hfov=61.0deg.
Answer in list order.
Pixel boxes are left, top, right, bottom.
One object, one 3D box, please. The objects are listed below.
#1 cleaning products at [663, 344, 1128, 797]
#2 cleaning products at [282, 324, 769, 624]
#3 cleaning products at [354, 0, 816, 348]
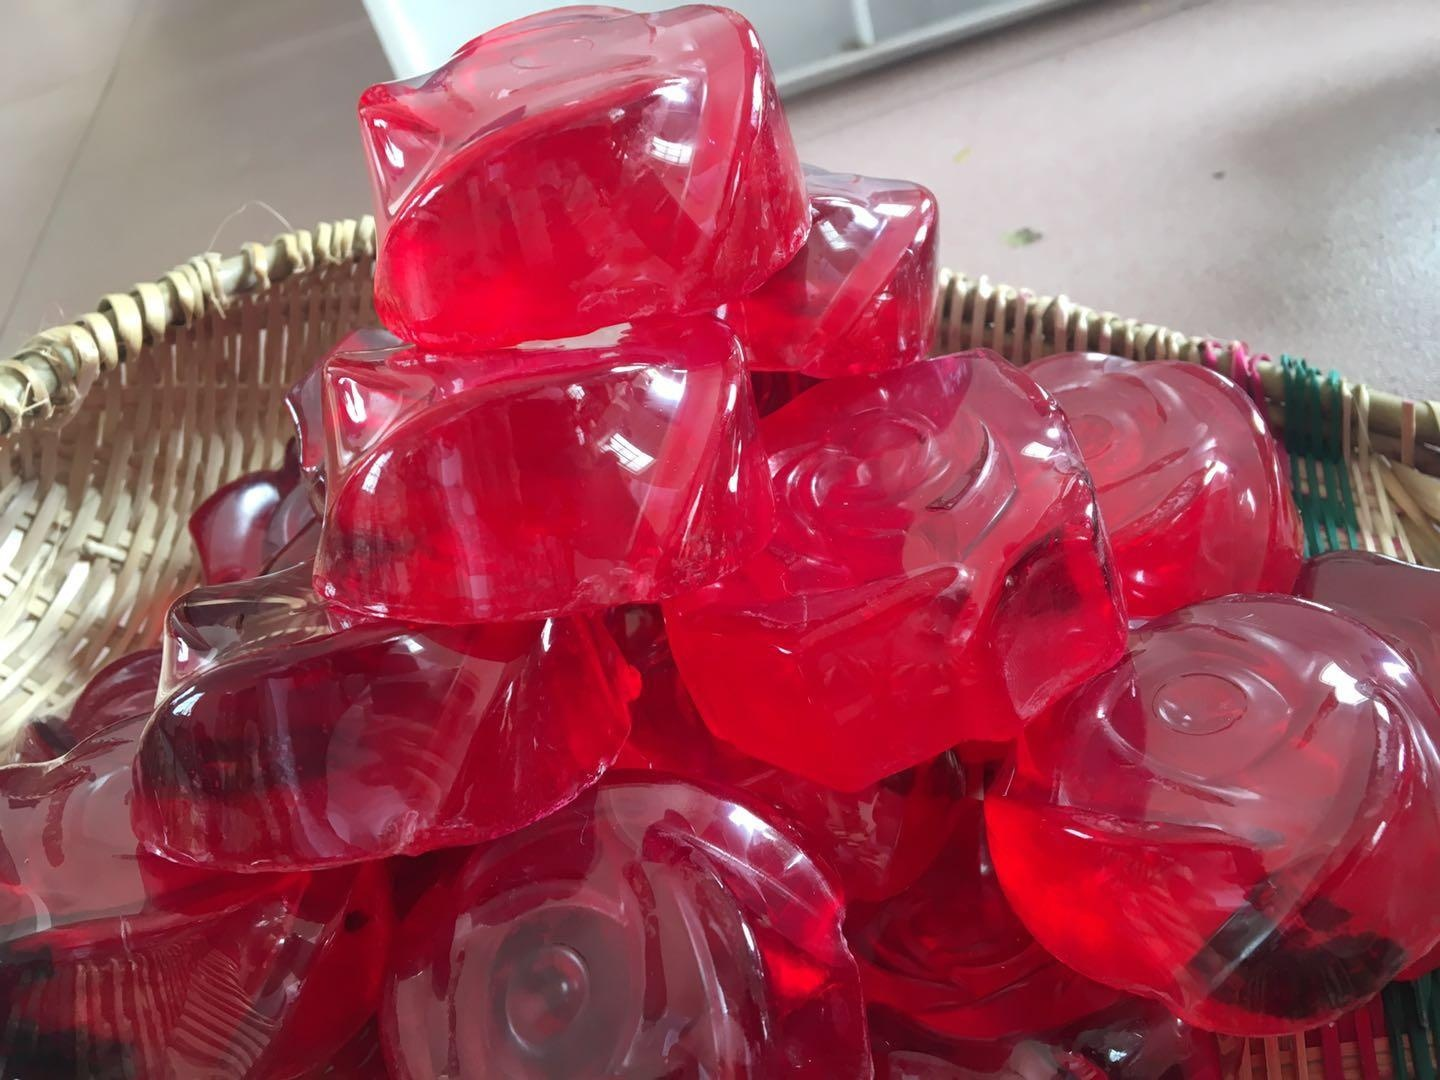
[{"bbox_3d":[0.131,0.008,0.820,0.311,0.138,0.355,10,47,49],"label":"cleaning products"},{"bbox_3d":[-0.115,-0.071,0.770,0.284,0.132,0.318,-7,20,-22],"label":"cleaning products"},{"bbox_3d":[-0.078,-0.213,0.714,0.205,0.108,0.206,-25,36,-16],"label":"cleaning products"}]
